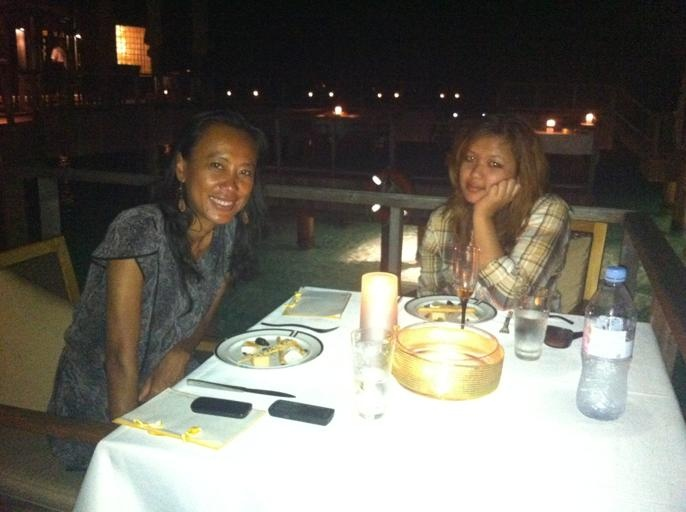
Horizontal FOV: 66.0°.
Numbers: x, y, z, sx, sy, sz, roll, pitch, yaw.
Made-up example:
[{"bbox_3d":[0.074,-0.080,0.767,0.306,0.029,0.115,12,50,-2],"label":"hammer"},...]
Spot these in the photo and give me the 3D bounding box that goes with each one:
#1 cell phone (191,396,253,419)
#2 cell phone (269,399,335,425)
[{"bbox_3d":[-0.346,0.425,1.506,0.146,0.019,0.065,3,11,7],"label":"cell phone"},{"bbox_3d":[-0.116,0.434,1.506,0.146,0.025,0.072,6,19,14],"label":"cell phone"}]
